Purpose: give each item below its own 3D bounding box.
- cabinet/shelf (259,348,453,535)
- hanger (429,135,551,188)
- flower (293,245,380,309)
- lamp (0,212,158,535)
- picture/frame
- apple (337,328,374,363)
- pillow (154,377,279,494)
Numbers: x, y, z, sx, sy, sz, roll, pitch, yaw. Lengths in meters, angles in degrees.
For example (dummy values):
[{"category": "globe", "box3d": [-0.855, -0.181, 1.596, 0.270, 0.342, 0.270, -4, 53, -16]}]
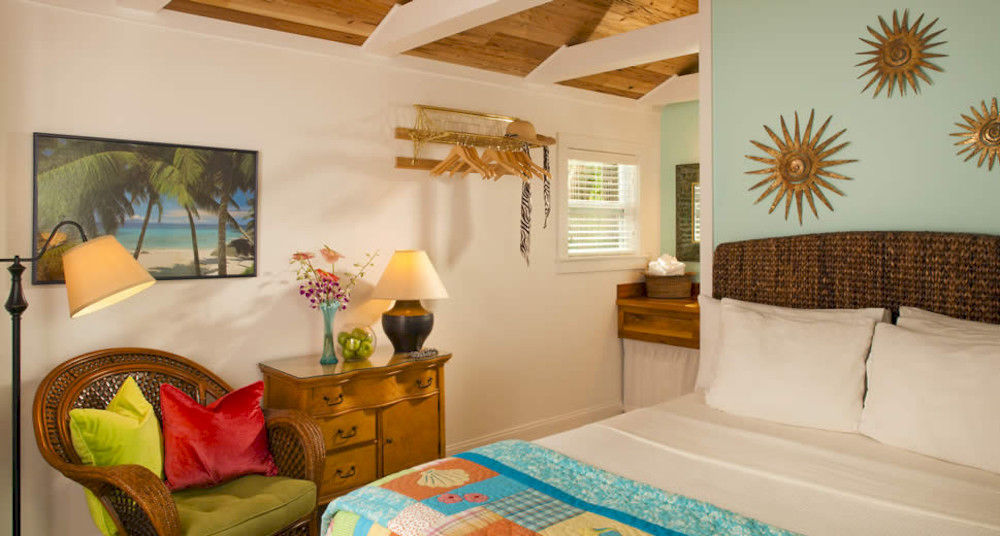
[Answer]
[{"category": "cabinet/shelf", "box3d": [-1.119, 1.047, 5.111, 2.039, 1.618, 1.215, 1, -3, -42]}, {"category": "hanger", "box3d": [-0.070, -0.891, 5.056, 0.532, 0.220, 0.717, 2, -2, -44]}, {"category": "flower", "box3d": [-1.414, 0.071, 4.935, 0.587, 0.444, 0.559, 1, 3, 24]}, {"category": "lamp", "box3d": [-2.783, 0.754, 3.834, 1.115, 2.127, 0.818, 6, 12, 43]}, {"category": "picture/frame", "box3d": [-2.595, -0.459, 4.228, 1.406, 0.817, 0.047, 2, -5, -32]}, {"category": "apple", "box3d": [-1.151, 0.610, 4.710, 0.324, 0.260, 0.164, 6, 13, -11]}, {"category": "pillow", "box3d": [-1.948, 1.169, 4.041, 0.820, 0.653, 0.401, -2, -11, -29]}]
